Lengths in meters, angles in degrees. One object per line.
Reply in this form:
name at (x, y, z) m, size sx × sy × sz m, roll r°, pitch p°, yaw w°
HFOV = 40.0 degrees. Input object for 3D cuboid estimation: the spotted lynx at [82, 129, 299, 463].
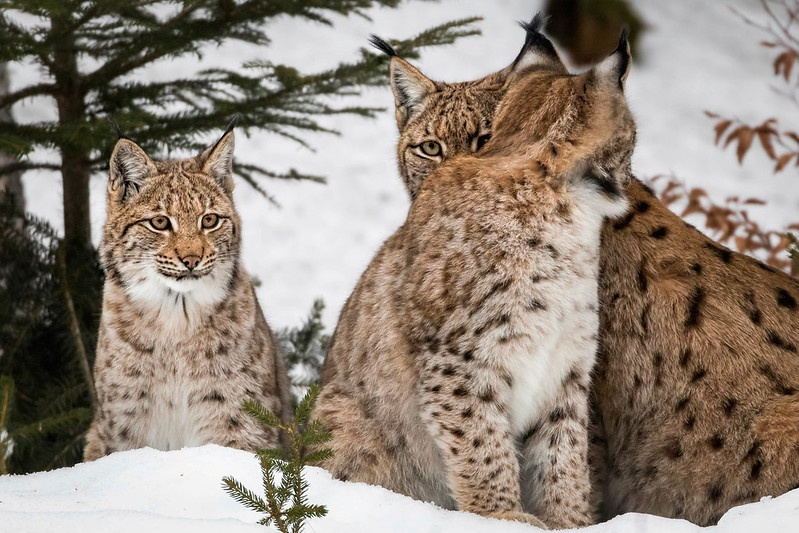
spotted lynx at (-1.620, 0.345, 7.653) m, size 1.563 × 2.206 × 2.383 m, roll -4°, pitch -8°, yaw -15°
